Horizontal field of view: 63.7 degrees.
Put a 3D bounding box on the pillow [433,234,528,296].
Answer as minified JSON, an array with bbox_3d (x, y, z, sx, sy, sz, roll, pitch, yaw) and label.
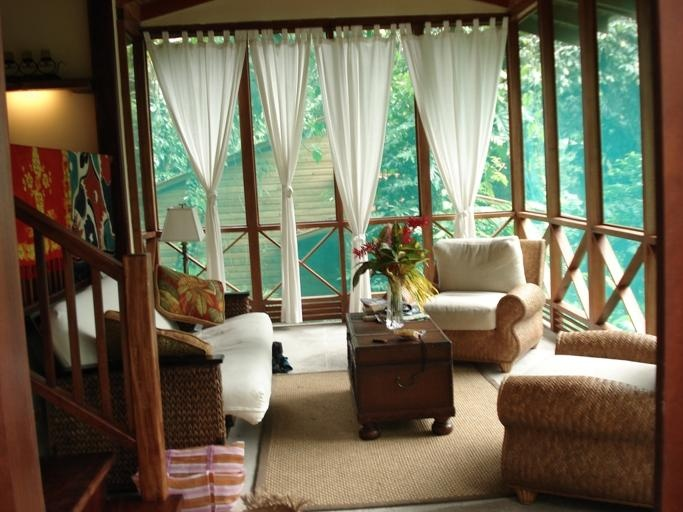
[{"bbox_3d":[1.077,0.061,4.370,0.636,0.477,0.238,1,16,19],"label":"pillow"}]

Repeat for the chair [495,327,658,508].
[{"bbox_3d":[1.059,0.681,2.481,0.753,0.554,1.001,1,5,22],"label":"chair"}]

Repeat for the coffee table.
[{"bbox_3d":[0.268,0.656,3.556,0.602,0.608,1.133,-4,6,-12],"label":"coffee table"}]

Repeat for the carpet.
[{"bbox_3d":[0.183,0.974,3.110,1.409,0.046,1.515,0,9,17],"label":"carpet"}]

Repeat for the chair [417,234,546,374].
[{"bbox_3d":[1.012,0.349,4.226,1.070,0.997,1.102,-1,-1,9],"label":"chair"}]
